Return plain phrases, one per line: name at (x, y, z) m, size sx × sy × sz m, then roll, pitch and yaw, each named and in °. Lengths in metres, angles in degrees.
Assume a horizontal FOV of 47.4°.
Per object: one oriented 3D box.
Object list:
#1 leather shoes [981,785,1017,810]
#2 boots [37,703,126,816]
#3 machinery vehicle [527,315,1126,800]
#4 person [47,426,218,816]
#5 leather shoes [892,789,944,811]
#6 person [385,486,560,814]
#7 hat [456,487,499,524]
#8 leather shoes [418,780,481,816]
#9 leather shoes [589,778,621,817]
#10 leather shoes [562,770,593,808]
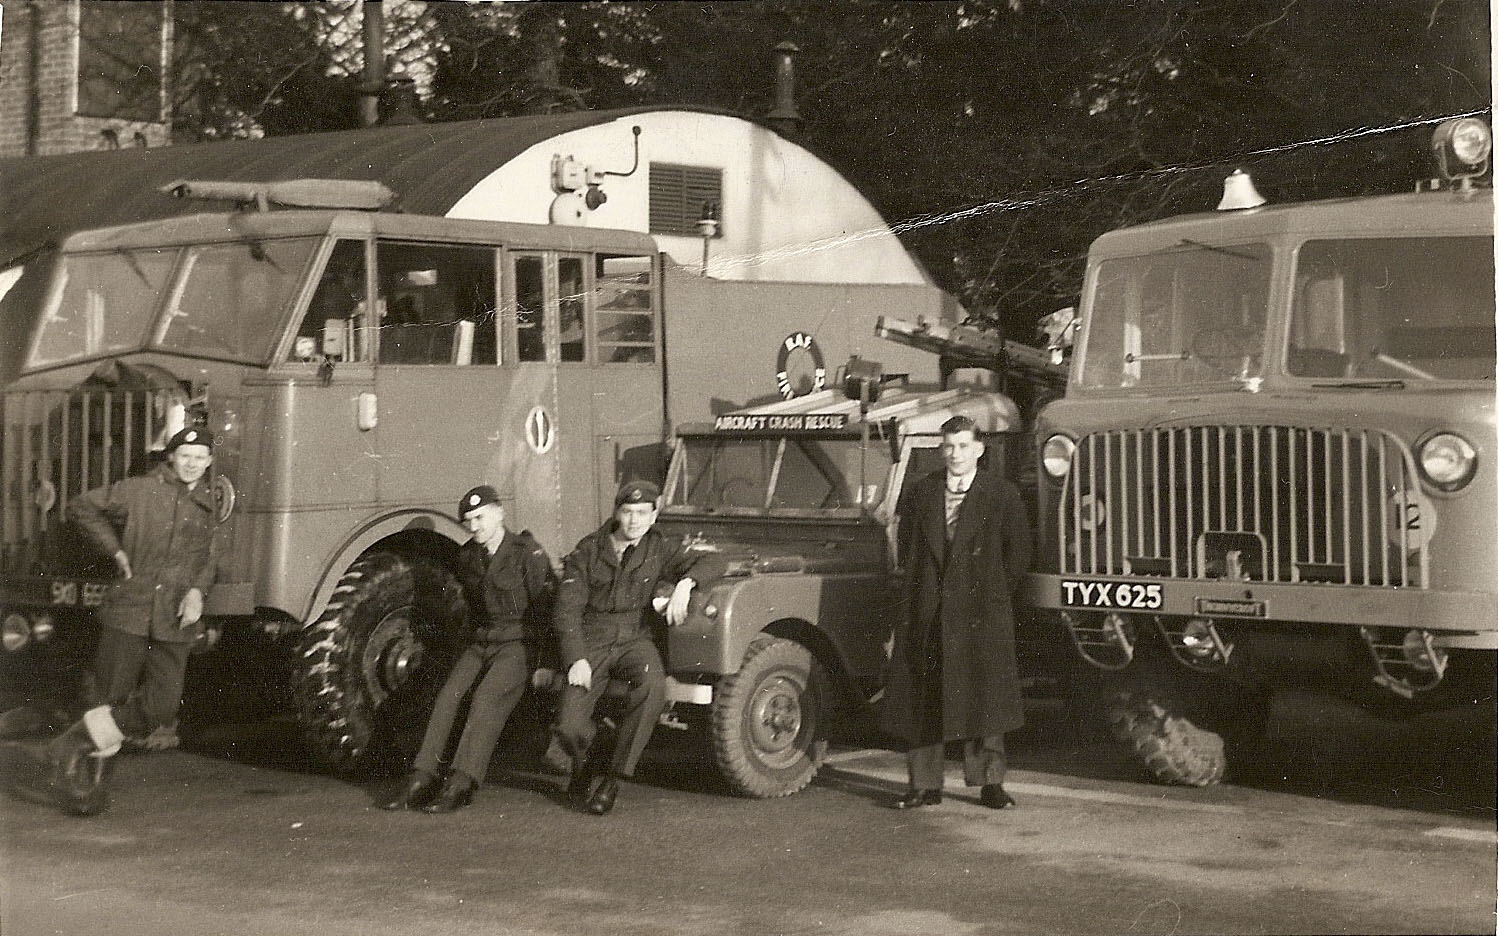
leather shoes at (1.496, 1.984, 10.237) m, size 0.200 × 0.085 × 0.111 m, roll -6°, pitch -4°, yaw 44°
boots at (-3.945, 1.764, 10.208) m, size 0.240 × 0.607 × 0.481 m, roll 14°, pitch -11°, yaw -10°
machinery vehicle at (0.717, 0.678, 12.357) m, size 4.484 × 2.922 × 2.573 m, roll 0°, pitch -1°, yaw -37°
person at (-3.825, 0.889, 10.537) m, size 1.244 × 2.210 × 0.760 m, roll -8°, pitch 10°, yaw -42°
leather shoes at (1.028, 2.024, 10.384) m, size 0.332 × 0.149 × 0.116 m, roll 3°, pitch -2°, yaw -11°
person at (-1.657, 1.078, 10.414) m, size 0.525 × 1.846 × 1.094 m, roll 5°, pitch 10°, yaw 36°
hat at (-1.703, 0.243, 10.539) m, size 0.235 × 0.099 × 0.196 m, roll -26°, pitch 4°, yaw 13°
leather shoes at (-1.779, 1.975, 10.177) m, size 0.132 × 0.148 × 0.371 m, roll -4°, pitch -4°, yaw 30°
leather shoes at (-0.869, 1.965, 10.229) m, size 0.135 × 0.203 × 0.216 m, roll 6°, pitch 11°, yaw 41°
leather shoes at (-1.069, 1.997, 10.533) m, size 0.118 × 0.224 × 0.051 m, roll 6°, pitch -14°, yaw 24°
